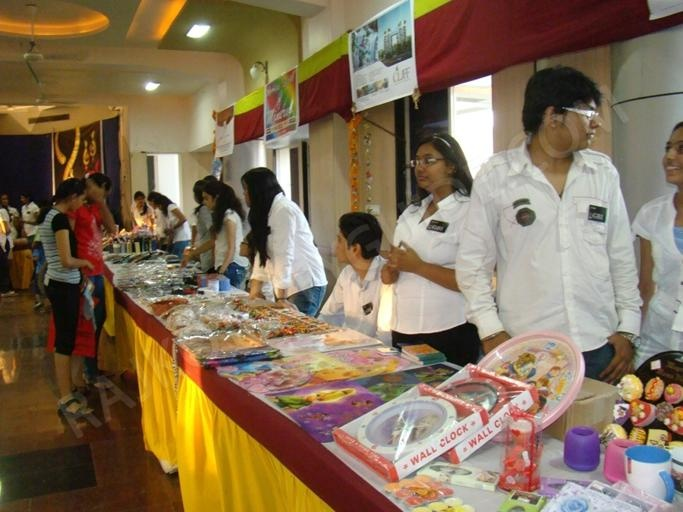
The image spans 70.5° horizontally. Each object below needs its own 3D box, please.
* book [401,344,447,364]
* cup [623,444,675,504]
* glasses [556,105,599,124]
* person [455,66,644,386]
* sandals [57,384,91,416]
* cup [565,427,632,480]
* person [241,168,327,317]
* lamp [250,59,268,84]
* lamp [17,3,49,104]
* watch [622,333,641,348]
[{"bbox_3d":[0.319,0.385,1.893,0.095,0.025,0.097,5,5,-21],"label":"book"},{"bbox_3d":[0.660,0.462,1.045,0.072,0.106,0.118,-1,7,2],"label":"cup"},{"bbox_3d":[0.786,-0.462,1.573,0.063,0.021,0.066,16,0,15],"label":"glasses"},{"bbox_3d":[0.728,-0.112,1.693,0.620,1.060,0.303,-2,8,0],"label":"person"},{"bbox_3d":[-2.022,1.099,3.657,0.205,0.154,0.330,-8,10,-37],"label":"sandals"},{"bbox_3d":[0.618,0.476,1.170,0.137,0.094,0.096,5,10,40],"label":"cup"},{"bbox_3d":[-0.359,0.150,3.283,0.515,1.496,0.423,-6,11,-30],"label":"person"},{"bbox_3d":[-1.199,-2.684,6.971,0.254,0.351,0.421,-5,8,-21],"label":"lamp"},{"bbox_3d":[-4.761,-2.996,7.474,0.250,0.815,3.891,-6,9,-31],"label":"lamp"},{"bbox_3d":[0.987,0.280,1.659,0.057,0.036,0.045,22,3,18],"label":"watch"}]
